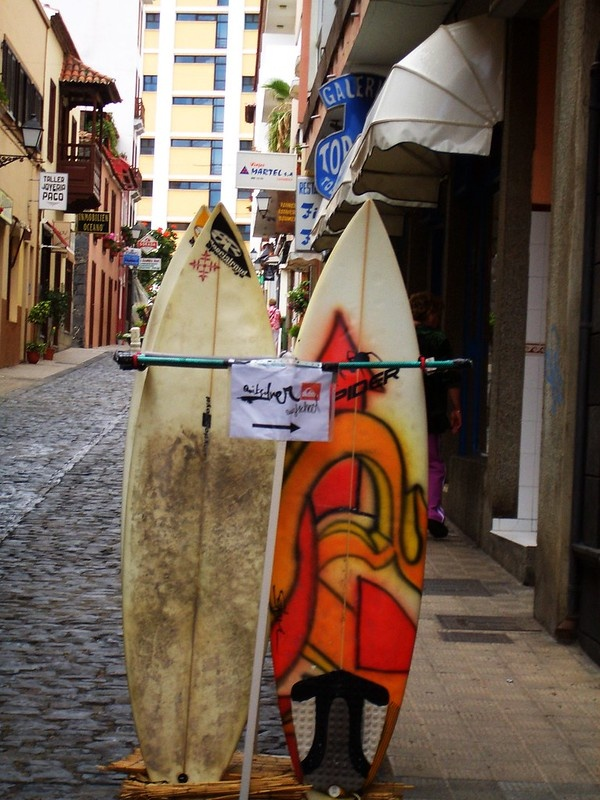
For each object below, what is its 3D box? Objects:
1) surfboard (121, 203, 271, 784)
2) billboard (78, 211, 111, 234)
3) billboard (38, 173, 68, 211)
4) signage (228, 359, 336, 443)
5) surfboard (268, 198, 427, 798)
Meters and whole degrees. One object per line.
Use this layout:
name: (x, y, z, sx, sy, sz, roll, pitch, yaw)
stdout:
surfboard: (-0.329, 0.235, 3.219, 0.489, 1.758, 0.672, 2, 4, -5)
billboard: (-5.247, -4.507, 25.798, 0.930, 0.676, 0.542, 1, -3, -3)
billboard: (-4.940, -4.236, 20.315, 0.527, 0.847, 1.312, 2, 4, -15)
signage: (-0.053, 0.001, 2.806, 0.222, 0.193, 0.039, 3, 0, -3)
surfboard: (0.156, 0.270, 3.099, 0.455, 1.782, 0.440, 3, 4, 7)
